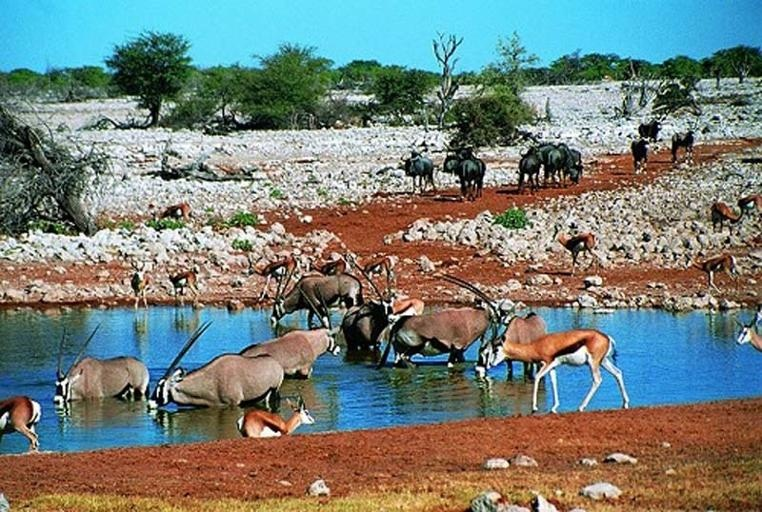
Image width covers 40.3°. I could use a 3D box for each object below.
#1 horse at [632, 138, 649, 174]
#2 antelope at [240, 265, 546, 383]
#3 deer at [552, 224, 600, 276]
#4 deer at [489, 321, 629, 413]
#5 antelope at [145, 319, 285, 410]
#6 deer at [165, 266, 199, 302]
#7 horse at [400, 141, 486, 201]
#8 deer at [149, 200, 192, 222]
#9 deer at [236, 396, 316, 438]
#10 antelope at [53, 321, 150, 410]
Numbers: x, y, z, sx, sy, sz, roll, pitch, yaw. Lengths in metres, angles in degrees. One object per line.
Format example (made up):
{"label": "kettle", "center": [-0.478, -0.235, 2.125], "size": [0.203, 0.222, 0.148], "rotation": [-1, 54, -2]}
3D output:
{"label": "horse", "center": [11.984, -4.719, 47.971], "size": [0.687, 1.516, 2.825], "rotation": [-1, 13, 14]}
{"label": "antelope", "center": [1.723, 2.070, 26.032], "size": [5.047, 2.985, 1.858], "rotation": [-3, 12, 8]}
{"label": "deer", "center": [6.818, -0.364, 34.778], "size": [2.370, 1.796, 0.720], "rotation": [3, -10, -41]}
{"label": "deer", "center": [3.919, 2.560, 23.139], "size": [3.040, 1.929, 0.888], "rotation": [1, 14, 20]}
{"label": "antelope", "center": [-3.765, 2.850, 24.061], "size": [3.207, 2.401, 1.033], "rotation": [-5, 4, -21]}
{"label": "deer", "center": [-6.154, 0.890, 32.193], "size": [1.394, 1.035, 0.360], "rotation": [-4, -2, 36]}
{"label": "horse", "center": [2.766, -3.445, 44.860], "size": [1.704, 2.847, 5.462], "rotation": [-1, 0, -34]}
{"label": "deer", "center": [-8.178, -1.724, 40.119], "size": [1.628, 0.526, 0.908], "rotation": [-3, 45, 1]}
{"label": "deer", "center": [-2.271, 3.648, 22.576], "size": [1.623, 1.250, 0.559], "rotation": [3, -8, -18]}
{"label": "antelope", "center": [-6.505, 2.805, 24.215], "size": [2.165, 1.297, 0.628], "rotation": [-9, 14, -24]}
